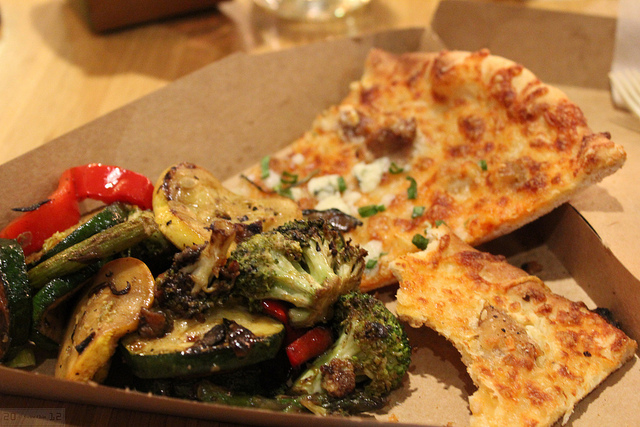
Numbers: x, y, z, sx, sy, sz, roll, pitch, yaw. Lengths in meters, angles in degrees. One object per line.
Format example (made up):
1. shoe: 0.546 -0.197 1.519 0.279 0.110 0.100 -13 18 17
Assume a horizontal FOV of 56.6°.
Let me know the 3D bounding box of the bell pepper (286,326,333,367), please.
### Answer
1. bell pepper: -0.057 0.839 3.765 0.350 0.116 0.178 -35 65 -30

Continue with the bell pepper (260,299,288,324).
1. bell pepper: -0.281 0.605 3.735 0.205 0.066 0.102 35 92 -1
